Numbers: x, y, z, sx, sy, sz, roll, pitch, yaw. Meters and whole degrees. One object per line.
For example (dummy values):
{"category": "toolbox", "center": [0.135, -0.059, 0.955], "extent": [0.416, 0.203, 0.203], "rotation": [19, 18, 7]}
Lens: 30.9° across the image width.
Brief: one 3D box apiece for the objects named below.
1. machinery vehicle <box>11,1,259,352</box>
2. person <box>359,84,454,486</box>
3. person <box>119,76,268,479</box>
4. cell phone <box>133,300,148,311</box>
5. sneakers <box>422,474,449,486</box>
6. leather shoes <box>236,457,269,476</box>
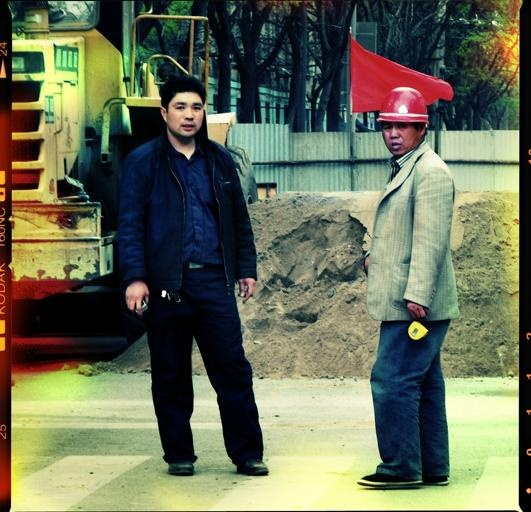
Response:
{"category": "machinery vehicle", "center": [-1.907, -0.948, 10.040], "extent": [1.866, 2.645, 3.714], "rotation": [0, 2, 11]}
{"category": "person", "center": [0.803, 0.165, 5.379], "extent": [0.562, 2.234, 0.502], "rotation": [-1, 4, 4]}
{"category": "person", "center": [-0.435, 0.112, 5.638], "extent": [0.833, 2.361, 0.516], "rotation": [-1, 4, -5]}
{"category": "cell phone", "center": [-0.716, 0.282, 5.480], "extent": [0.067, 0.026, 0.051], "rotation": [-37, -17, -23]}
{"category": "sneakers", "center": [0.955, 1.254, 5.387], "extent": [0.148, 0.075, 0.055], "rotation": [-3, 0, 0]}
{"category": "leather shoes", "center": [-0.067, 1.213, 5.558], "extent": [0.084, 0.078, 0.175], "rotation": [3, -8, -43]}
